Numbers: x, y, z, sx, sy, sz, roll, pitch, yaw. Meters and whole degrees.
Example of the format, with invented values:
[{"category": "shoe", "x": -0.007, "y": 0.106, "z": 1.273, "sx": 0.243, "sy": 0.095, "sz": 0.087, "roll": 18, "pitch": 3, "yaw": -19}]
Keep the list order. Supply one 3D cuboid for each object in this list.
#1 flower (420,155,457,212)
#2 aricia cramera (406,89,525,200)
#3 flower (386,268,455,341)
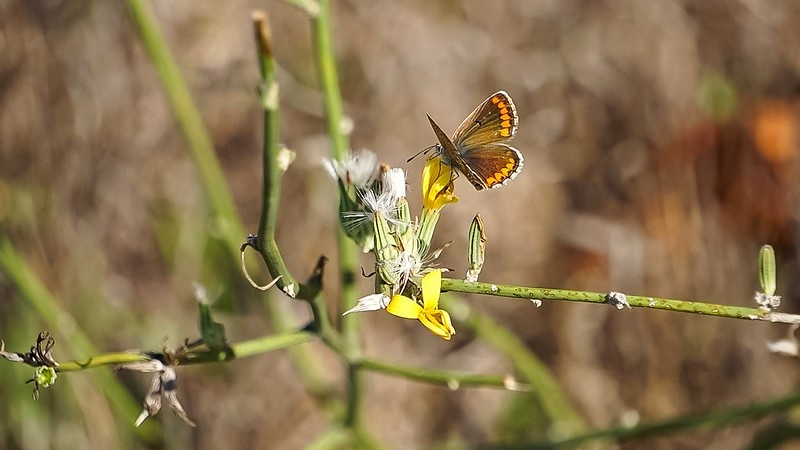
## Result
[{"category": "flower", "x": 0.070, "y": -0.082, "z": 1.949, "sx": 0.064, "sy": 0.067, "sz": 0.030, "roll": 2, "pitch": 69, "yaw": 12}, {"category": "aricia cramera", "x": 0.131, "y": -0.142, "z": 2.006, "sx": 0.162, "sy": 0.177, "sz": 0.126, "roll": 34, "pitch": 117, "yaw": 20}, {"category": "flower", "x": 0.056, "y": 0.137, "z": 2.011, "sx": 0.111, "sy": 0.259, "sz": 0.092, "roll": 26, "pitch": 83, "yaw": 7}]
